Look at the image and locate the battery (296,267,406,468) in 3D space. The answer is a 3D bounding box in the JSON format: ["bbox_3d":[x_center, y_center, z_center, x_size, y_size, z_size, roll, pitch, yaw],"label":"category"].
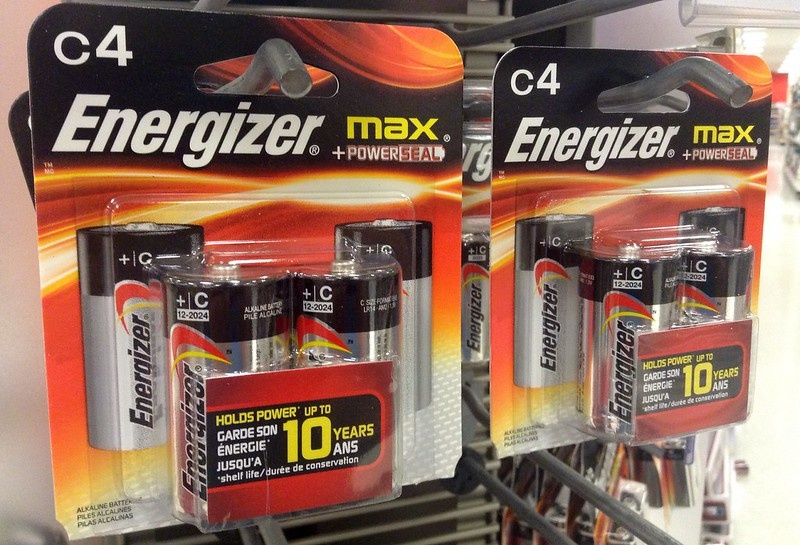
[{"bbox_3d":[-0.092,0.088,1.110,0.145,0.240,0.162,-1,2,-13],"label":"battery"}]

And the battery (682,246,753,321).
[{"bbox_3d":[0.554,0.006,1.340,0.127,0.134,0.124,-7,27,9],"label":"battery"}]

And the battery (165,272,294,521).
[{"bbox_3d":[-0.241,0.174,1.099,0.172,0.346,0.059,-3,3,-17],"label":"battery"}]
